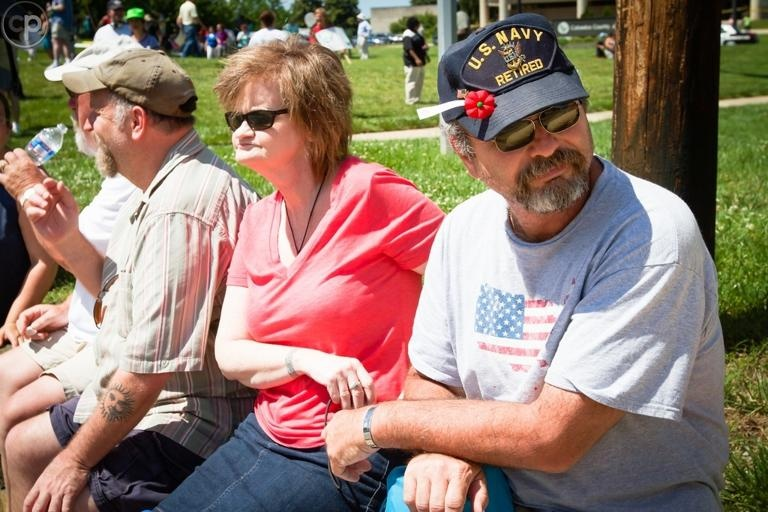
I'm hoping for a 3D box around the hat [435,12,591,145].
[{"bbox_3d":[0.581,-0.853,3.977,0.484,0.359,0.676,-30,15,2],"label":"hat"}]

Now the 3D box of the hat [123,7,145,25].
[{"bbox_3d":[-4.871,-4.721,16.658,0.310,0.242,1.234,-10,19,-10],"label":"hat"}]

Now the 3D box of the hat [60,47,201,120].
[{"bbox_3d":[-1.469,-1.038,5.031,0.636,0.294,0.430,14,17,-7],"label":"hat"}]
